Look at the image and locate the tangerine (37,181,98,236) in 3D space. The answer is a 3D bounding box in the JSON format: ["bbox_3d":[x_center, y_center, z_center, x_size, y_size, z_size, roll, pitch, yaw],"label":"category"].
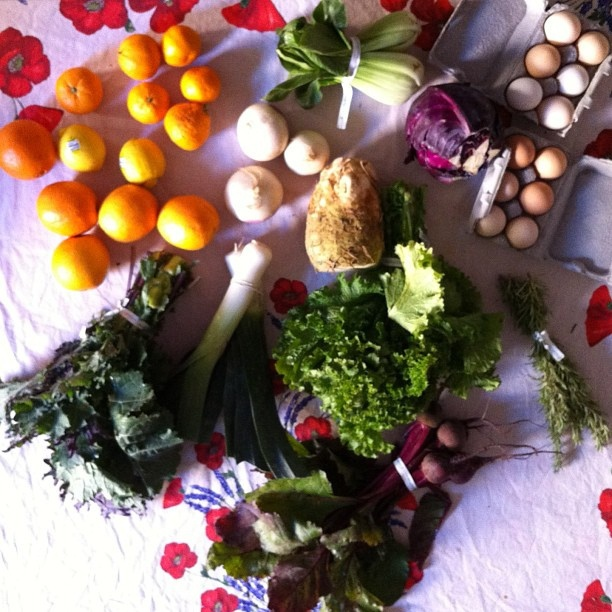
[{"bbox_3d":[-0.459,-0.185,1.185,0.099,0.061,0.098,-1,82,4],"label":"tangerine"}]

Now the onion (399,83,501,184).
[{"bbox_3d":[0.280,-0.335,1.176,0.157,0.105,0.187,-41,82,-2],"label":"onion"}]

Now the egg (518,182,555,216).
[{"bbox_3d":[0.449,-0.209,1.203,0.071,0.064,0.072,6,63,4],"label":"egg"}]

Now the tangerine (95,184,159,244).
[{"bbox_3d":[-0.347,-0.182,1.189,0.100,0.069,0.141,-11,51,-6],"label":"tangerine"}]

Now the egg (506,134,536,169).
[{"bbox_3d":[0.418,-0.298,1.199,0.070,0.064,0.068,0,95,8],"label":"egg"}]

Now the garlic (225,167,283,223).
[{"bbox_3d":[-0.105,-0.221,1.211,0.109,0.073,0.103,-42,82,-2],"label":"garlic"}]

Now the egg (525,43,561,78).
[{"bbox_3d":[0.448,-0.462,1.172,0.072,0.037,0.061,-1,92,7],"label":"egg"}]

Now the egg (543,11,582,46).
[{"bbox_3d":[0.482,-0.521,1.166,0.072,0.032,0.061,3,92,6],"label":"egg"}]

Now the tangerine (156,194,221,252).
[{"bbox_3d":[-0.220,-0.158,1.218,0.114,0.085,0.106,40,96,-14],"label":"tangerine"}]

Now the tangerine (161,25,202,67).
[{"bbox_3d":[-0.241,-0.499,1.194,0.089,0.079,0.071,5,103,8],"label":"tangerine"}]

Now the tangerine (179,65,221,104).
[{"bbox_3d":[-0.201,-0.419,1.183,0.083,0.059,0.067,6,93,16],"label":"tangerine"}]

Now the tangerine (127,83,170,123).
[{"bbox_3d":[-0.302,-0.383,1.176,0.086,0.076,0.072,-5,96,-8],"label":"tangerine"}]

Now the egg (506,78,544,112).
[{"bbox_3d":[0.420,-0.406,1.193,0.067,0.032,0.060,-7,82,3],"label":"egg"}]

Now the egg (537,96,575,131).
[{"bbox_3d":[0.477,-0.367,1.181,0.073,0.037,0.062,1,95,10],"label":"egg"}]

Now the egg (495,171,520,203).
[{"bbox_3d":[0.392,-0.232,1.205,0.059,0.055,0.059,3,95,11],"label":"egg"}]

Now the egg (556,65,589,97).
[{"bbox_3d":[0.507,-0.425,1.177,0.065,0.031,0.054,3,94,2],"label":"egg"}]

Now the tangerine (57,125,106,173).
[{"bbox_3d":[-0.437,-0.305,1.215,0.081,0.091,0.083,5,83,5],"label":"tangerine"}]

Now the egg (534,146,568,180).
[{"bbox_3d":[0.473,-0.273,1.196,0.068,0.060,0.070,6,43,4],"label":"egg"}]

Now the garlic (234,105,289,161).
[{"bbox_3d":[-0.071,-0.334,1.209,0.152,0.100,0.101,-1,43,1],"label":"garlic"}]

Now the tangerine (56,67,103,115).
[{"bbox_3d":[-0.438,-0.413,1.195,0.102,0.086,0.083,-4,98,-6],"label":"tangerine"}]

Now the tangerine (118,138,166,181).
[{"bbox_3d":[-0.311,-0.273,1.168,0.080,0.071,0.084,-9,91,-5],"label":"tangerine"}]

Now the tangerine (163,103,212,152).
[{"bbox_3d":[-0.232,-0.346,1.191,0.078,0.060,0.101,-14,45,-14],"label":"tangerine"}]
